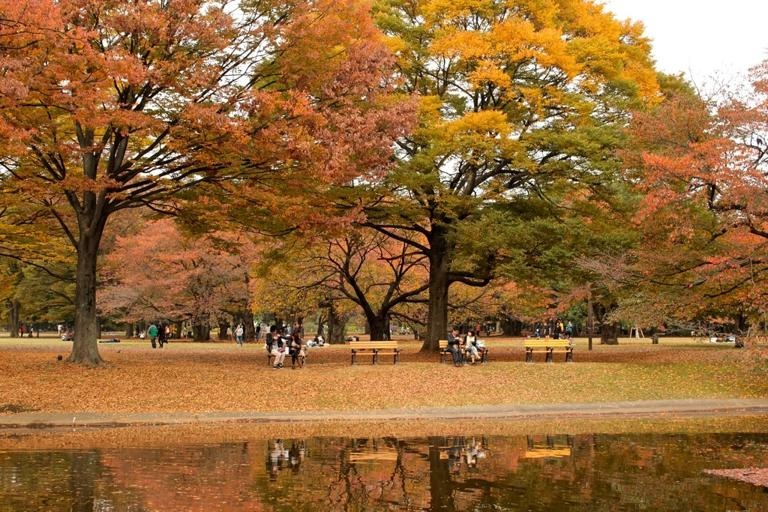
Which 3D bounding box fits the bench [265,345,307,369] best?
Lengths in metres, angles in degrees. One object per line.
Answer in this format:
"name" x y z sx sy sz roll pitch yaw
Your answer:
"bench" -4.397 4.512 42.472 2.013 0.787 1.228 1 -9 -9
